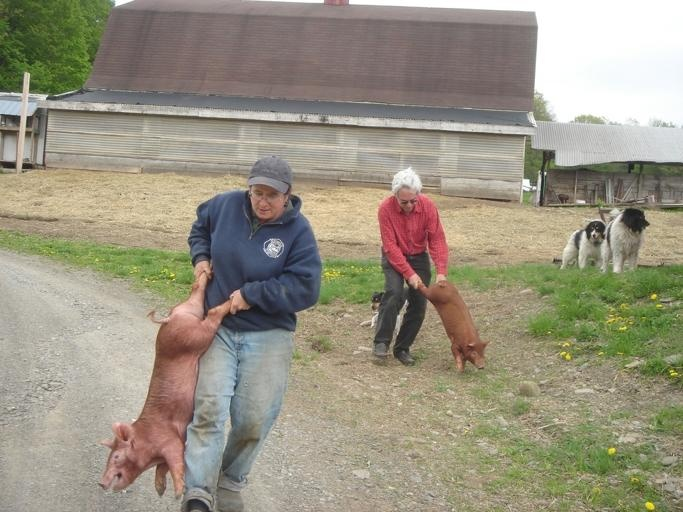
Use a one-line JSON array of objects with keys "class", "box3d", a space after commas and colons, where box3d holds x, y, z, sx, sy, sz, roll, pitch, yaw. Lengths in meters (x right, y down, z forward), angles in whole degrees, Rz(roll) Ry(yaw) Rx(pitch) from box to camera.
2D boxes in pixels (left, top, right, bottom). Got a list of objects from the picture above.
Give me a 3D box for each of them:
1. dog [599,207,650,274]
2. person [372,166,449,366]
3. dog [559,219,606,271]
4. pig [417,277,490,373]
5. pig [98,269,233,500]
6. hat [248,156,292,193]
[{"class": "dog", "box3d": [5.296, -0.289, 12.714, 0.682, 1.239, 1.249, 2, 10, 4]}, {"class": "person", "box3d": [0.915, 0.178, 9.063, 0.868, 2.671, 0.686, 10, 14, 37]}, {"class": "dog", "box3d": [5.075, -0.208, 14.071, 0.706, 1.082, 1.209, 2, 10, 0]}, {"class": "pig", "box3d": [1.466, 0.894, 9.321, 1.040, 1.139, 0.908, 4, 8, 4]}, {"class": "pig", "box3d": [-1.225, 0.974, 5.592, 1.139, 1.989, 0.468, 3, 13, -28]}, {"class": "hat", "box3d": [-0.577, -0.663, 5.569, 0.284, 0.181, 0.368, 11, 14, 2]}]
